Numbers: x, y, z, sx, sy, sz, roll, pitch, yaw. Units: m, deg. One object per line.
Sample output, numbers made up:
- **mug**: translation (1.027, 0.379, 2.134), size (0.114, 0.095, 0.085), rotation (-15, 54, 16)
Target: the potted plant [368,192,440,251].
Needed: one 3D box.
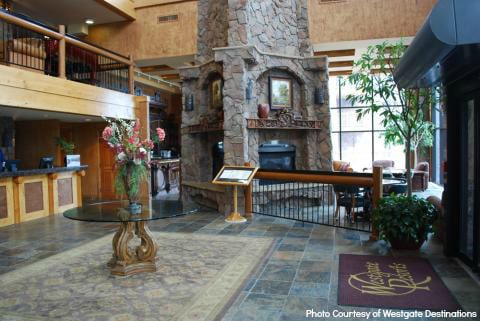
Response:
- **potted plant**: translation (3.147, 1.174, 6.662), size (1.167, 0.952, 1.103), rotation (0, -5, -1)

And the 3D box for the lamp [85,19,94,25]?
- **lamp**: translation (-5.785, -5.359, 12.766), size (0.231, 0.051, 0.222), rotation (-1, -1, -10)

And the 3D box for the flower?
- **flower**: translation (-1.883, -0.035, 5.873), size (0.970, 1.399, 0.495), rotation (-3, 8, -14)

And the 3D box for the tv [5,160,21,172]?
- **tv**: translation (-6.028, 0.104, 8.755), size (0.313, 0.275, 0.407), rotation (-5, 9, -28)

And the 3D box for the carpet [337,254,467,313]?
- **carpet**: translation (2.343, 1.881, 5.307), size (1.677, 0.117, 1.595), rotation (0, 8, 9)
